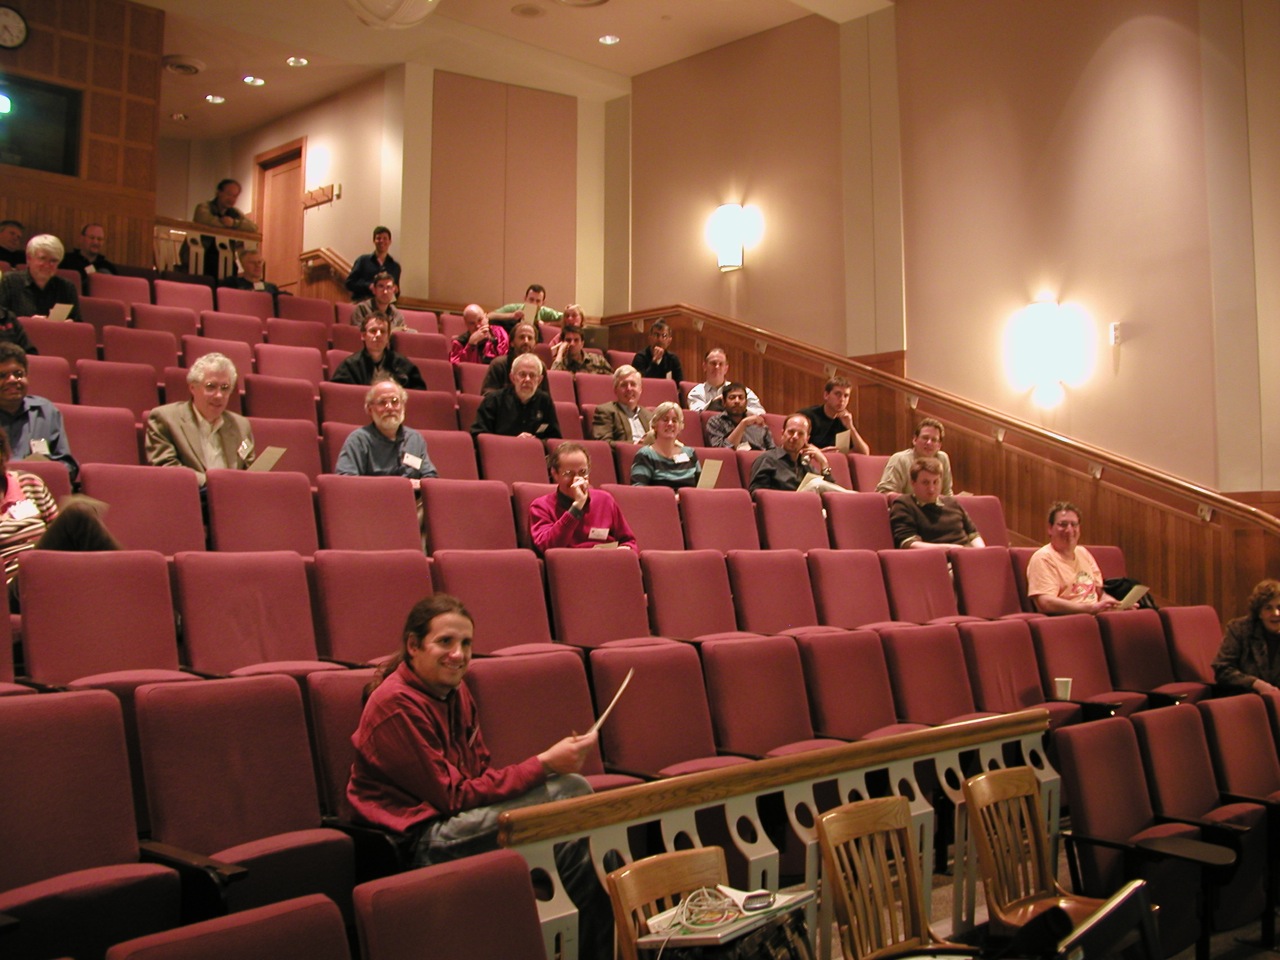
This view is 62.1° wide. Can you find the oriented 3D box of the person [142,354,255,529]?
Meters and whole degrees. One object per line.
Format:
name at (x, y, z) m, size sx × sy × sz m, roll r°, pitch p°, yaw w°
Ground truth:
person at (-1.498, -0.122, 3.599) m, size 0.331 × 0.417 × 0.727 m, roll 7°, pitch 37°, yaw -32°
